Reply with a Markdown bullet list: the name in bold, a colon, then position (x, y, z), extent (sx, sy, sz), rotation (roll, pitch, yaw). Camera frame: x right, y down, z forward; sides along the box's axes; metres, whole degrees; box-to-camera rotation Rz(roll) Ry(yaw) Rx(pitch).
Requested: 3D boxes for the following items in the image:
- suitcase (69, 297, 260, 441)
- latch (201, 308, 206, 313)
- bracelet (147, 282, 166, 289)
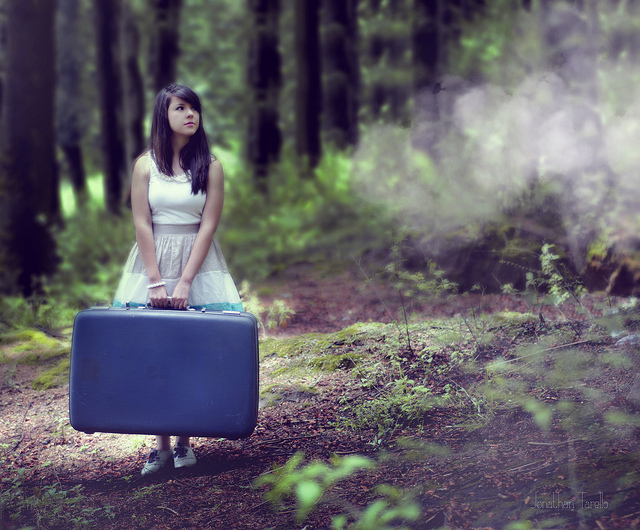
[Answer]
- **suitcase**: position (-0.908, 0.609, 4.752), extent (0.832, 0.655, 0.275), rotation (1, 2, 4)
- **latch**: position (-0.688, 0.267, 4.787), extent (0.017, 0.021, 0.032), rotation (-7, 6, -42)
- **bracelet**: position (-0.971, 0.124, 4.835), extent (0.100, 0.037, 0.036), rotation (-2, 7, -12)
